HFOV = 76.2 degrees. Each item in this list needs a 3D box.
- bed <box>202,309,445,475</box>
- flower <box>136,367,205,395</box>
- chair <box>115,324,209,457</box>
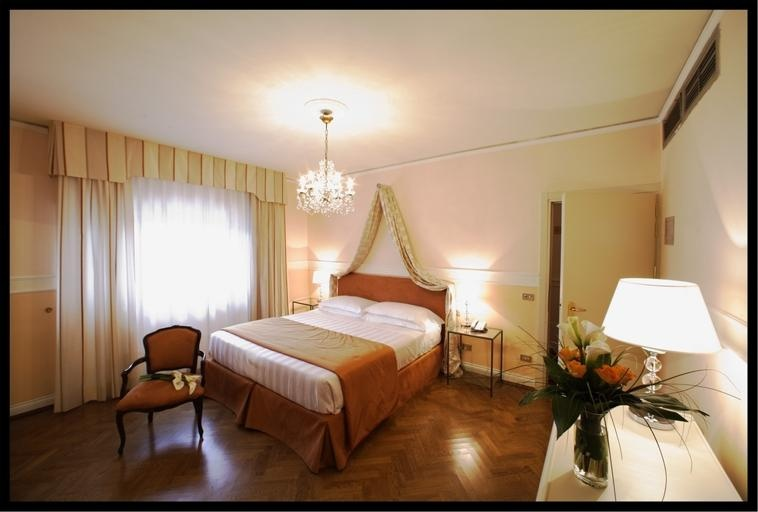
[{"bbox_3d":[-0.334,1.356,5.203,1.540,0.565,1.552,2,2,39],"label":"bed"},{"bbox_3d":[-2.090,1.263,4.922,0.435,0.133,0.344,10,-7,4],"label":"flower"},{"bbox_3d":[-2.247,1.338,5.016,0.858,1.143,0.901,-4,-1,-24],"label":"chair"}]
